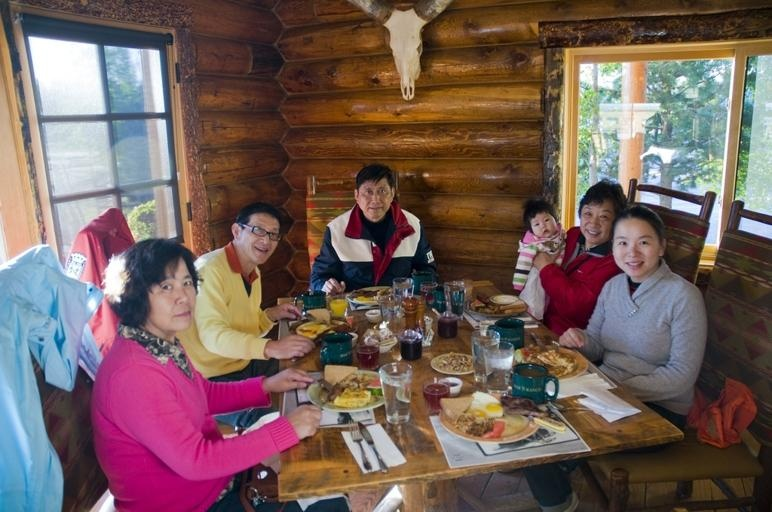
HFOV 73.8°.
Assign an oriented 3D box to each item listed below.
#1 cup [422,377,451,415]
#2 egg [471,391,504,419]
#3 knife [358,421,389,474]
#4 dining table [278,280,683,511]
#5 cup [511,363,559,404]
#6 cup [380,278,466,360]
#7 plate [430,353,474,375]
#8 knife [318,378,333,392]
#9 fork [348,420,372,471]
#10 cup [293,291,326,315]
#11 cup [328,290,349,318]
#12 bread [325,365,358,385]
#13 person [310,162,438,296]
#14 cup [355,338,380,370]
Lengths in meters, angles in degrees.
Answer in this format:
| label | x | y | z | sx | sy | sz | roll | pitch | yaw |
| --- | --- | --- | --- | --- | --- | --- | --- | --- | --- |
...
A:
| label | x | y | z | sx | sy | sz | roll | pitch | yaw |
| --- | --- | --- | --- | --- | --- | --- | --- | --- | --- |
| cup | 0.223 | 0.573 | 2.083 | 0.143 | 0.121 | 0.150 | 5 | -18 | 2 |
| egg | 0.384 | 0.572 | 1.974 | 0.099 | 0.026 | 0.087 | 11 | 31 | -5 |
| knife | -0.048 | 0.697 | 1.879 | 0.041 | 0.029 | 0.275 | -7 | 20 | -14 |
| dining table | 0.301 | 0.849 | 2.182 | 1.413 | 0.757 | 0.710 | -6 | 15 | -7 |
| cup | 0.612 | 0.525 | 2.064 | 0.196 | 0.117 | 0.124 | 10 | 20 | 43 |
| cup | 0.217 | 0.315 | 2.740 | 0.512 | 0.416 | 0.252 | -3 | 7 | -3 |
| plate | 0.299 | 0.485 | 2.295 | 0.112 | 0.014 | 0.105 | 6 | 17 | 23 |
| knife | -0.260 | 0.541 | 2.165 | 0.027 | 0.009 | 0.075 | -14 | 9 | -23 |
| fork | -0.099 | 0.684 | 1.888 | 0.036 | 0.035 | 0.249 | -20 | 22 | -5 |
| cup | -0.439 | 0.269 | 3.002 | 0.193 | 0.137 | 0.112 | -3 | 10 | -4 |
| cup | -0.272 | 0.280 | 2.888 | 0.121 | 0.088 | 0.119 | -1 | 1 | 0 |
| bread | -0.206 | 0.494 | 2.193 | 0.088 | 0.033 | 0.091 | -11 | 25 | -38 |
| person | -0.057 | -0.208 | 3.986 | 1.080 | 1.212 | 0.753 | -6 | 20 | -11 |
| cup | -0.082 | 0.447 | 2.341 | 0.105 | 0.077 | 0.109 | 0 | 2 | 0 |
